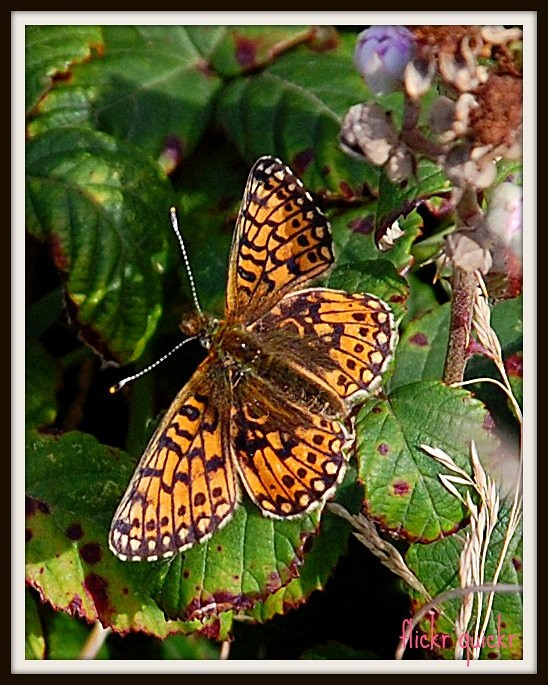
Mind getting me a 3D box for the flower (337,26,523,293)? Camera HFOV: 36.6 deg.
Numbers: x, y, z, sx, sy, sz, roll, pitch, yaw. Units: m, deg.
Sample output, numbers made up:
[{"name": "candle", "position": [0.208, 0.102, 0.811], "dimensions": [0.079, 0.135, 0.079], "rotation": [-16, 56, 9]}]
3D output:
[{"name": "flower", "position": [0.304, -0.324, 1.531], "dimensions": [0.345, 0.486, 0.240], "rotation": [8, 17, 16]}]
